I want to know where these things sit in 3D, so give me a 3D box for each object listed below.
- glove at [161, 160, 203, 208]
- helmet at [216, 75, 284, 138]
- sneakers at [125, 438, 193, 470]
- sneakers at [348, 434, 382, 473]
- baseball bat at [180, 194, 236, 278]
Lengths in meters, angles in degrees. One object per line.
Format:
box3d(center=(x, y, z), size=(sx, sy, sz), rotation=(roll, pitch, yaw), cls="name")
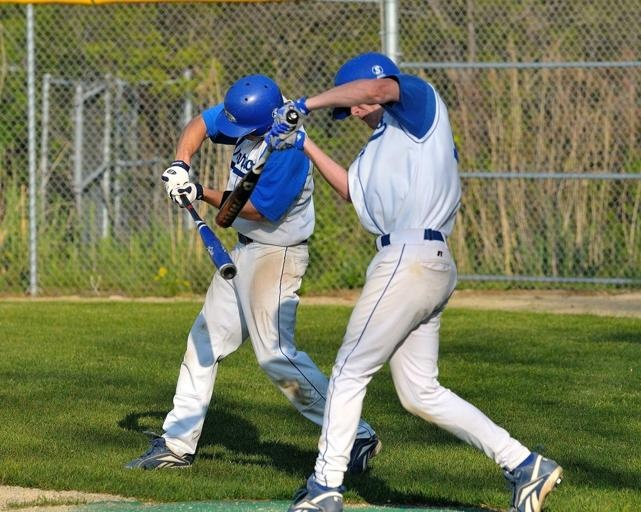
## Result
box3d(center=(-0.956, -0.512, 8.223), size=(0.150, 0.251, 0.344), rotation=(-3, 63, -58), cls="glove")
box3d(center=(-0.503, -1.052, 8.076), size=(0.343, 0.452, 0.238), rotation=(51, -4, 30), cls="helmet")
box3d(center=(-1.149, 1.433, 8.281), size=(0.526, 0.273, 0.191), rotation=(1, -7, -7), cls="sneakers")
box3d(center=(0.315, 1.377, 8.227), size=(0.114, 0.166, 0.370), rotation=(20, 53, 8), cls="sneakers")
box3d(center=(-1.060, -0.147, 10.673), size=(0.144, 0.144, 1.132), rotation=(26, 25, -45), cls="baseball bat")
